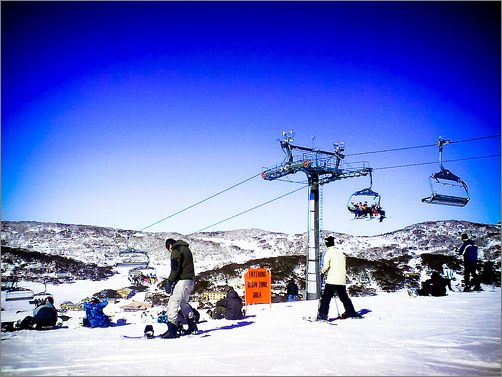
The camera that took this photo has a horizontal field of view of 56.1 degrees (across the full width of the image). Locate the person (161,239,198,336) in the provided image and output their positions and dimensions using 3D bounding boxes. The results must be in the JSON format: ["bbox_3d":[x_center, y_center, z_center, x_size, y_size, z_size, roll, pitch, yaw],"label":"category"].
[{"bbox_3d":[-2.052,2.845,13.632,0.952,2.908,1.136,1,-16,-2],"label":"person"}]

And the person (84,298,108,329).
[{"bbox_3d":[-5.261,4.269,16.117,0.850,0.971,0.504,5,-16,-16],"label":"person"}]

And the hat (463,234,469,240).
[{"bbox_3d":[8.414,1.905,18.466,0.236,0.179,0.214,2,-7,-9],"label":"hat"}]

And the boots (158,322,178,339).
[{"bbox_3d":[-2.301,4.057,13.418,0.512,0.454,0.372,3,-16,-9],"label":"boots"}]

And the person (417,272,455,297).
[{"bbox_3d":[7.735,4.153,20.348,1.152,0.535,1.516,32,-24,-35],"label":"person"}]

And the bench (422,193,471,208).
[{"bbox_3d":[9.282,0.566,21.784,2.031,0.571,1.380,6,-16,-23],"label":"bench"}]

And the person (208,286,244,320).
[{"bbox_3d":[-0.831,4.079,16.552,0.881,1.056,1.104,8,-17,-26],"label":"person"}]

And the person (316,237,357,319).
[{"bbox_3d":[2.661,2.811,14.761,1.098,2.615,1.097,-4,-17,15],"label":"person"}]
